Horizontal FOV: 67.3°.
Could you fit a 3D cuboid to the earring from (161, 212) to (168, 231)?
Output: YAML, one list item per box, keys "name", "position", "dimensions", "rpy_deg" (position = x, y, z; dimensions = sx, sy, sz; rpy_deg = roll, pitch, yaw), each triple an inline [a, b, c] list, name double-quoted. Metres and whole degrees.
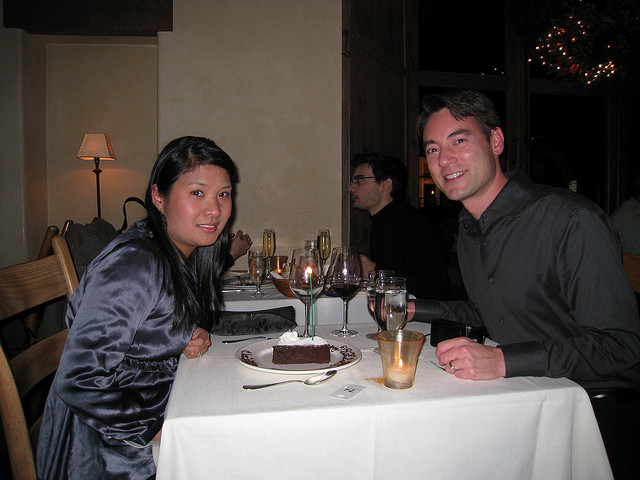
- name: "earring"
  position: [-0.559, -0.064, 1.740]
  dimensions: [0.010, 0.043, 0.044]
  rpy_deg: [-9, 14, -16]

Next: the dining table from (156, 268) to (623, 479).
- name: "dining table"
  position: [0.163, 0.447, 1.503]
  dimensions: [1.186, 0.404, 0.559]
  rpy_deg: [-3, 12, -4]

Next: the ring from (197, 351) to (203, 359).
- name: "ring"
  position: [-0.386, 0.373, 1.550]
  dimensions: [0.012, 0.018, 0.004]
  rpy_deg: [0, -9, 1]

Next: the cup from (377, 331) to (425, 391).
- name: "cup"
  position: [0.228, 0.356, 1.397]
  dimensions: [0.124, 0.152, 0.140]
  rpy_deg: [3, -9, 0]

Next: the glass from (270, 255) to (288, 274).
- name: "glass"
  position: [-0.221, 0.135, 2.652]
  dimensions: [0.074, 0.083, 0.077]
  rpy_deg: [-1, -3, 40]

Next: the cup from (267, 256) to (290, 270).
- name: "cup"
  position: [-0.228, 0.125, 2.680]
  dimensions: [0.075, 0.063, 0.080]
  rpy_deg: [1, 2, 0]

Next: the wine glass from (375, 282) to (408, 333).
- name: "wine glass"
  position: [0.236, 0.225, 1.620]
  dimensions: [0.110, 0.183, 0.111]
  rpy_deg: [1, 2, 39]

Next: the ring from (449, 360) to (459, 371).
- name: "ring"
  position: [0.388, 0.372, 1.413]
  dimensions: [0.006, 0.025, 0.022]
  rpy_deg: [-35, 29, -11]

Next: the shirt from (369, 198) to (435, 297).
- name: "shirt"
  position: [0.466, 0.047, 2.763]
  dimensions: [0.206, 0.548, 0.541]
  rpy_deg: [-6, -3, -20]
